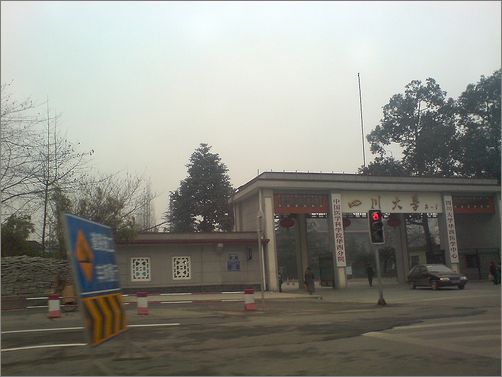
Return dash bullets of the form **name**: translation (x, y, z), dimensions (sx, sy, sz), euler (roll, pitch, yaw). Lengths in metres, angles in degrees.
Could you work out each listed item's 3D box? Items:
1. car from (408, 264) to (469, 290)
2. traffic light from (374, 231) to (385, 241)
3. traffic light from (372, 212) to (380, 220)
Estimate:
- **car**: translation (11.378, 5.666, 27.669), dimensions (1.590, 1.190, 3.490), euler (2, -14, -18)
- **traffic light**: translation (5.522, 2.047, 18.963), dimensions (0.364, 0.361, 0.090), euler (-2, -15, 3)
- **traffic light**: translation (5.489, 1.220, 19.192), dimensions (0.338, 0.344, 0.083), euler (-3, -9, -2)
